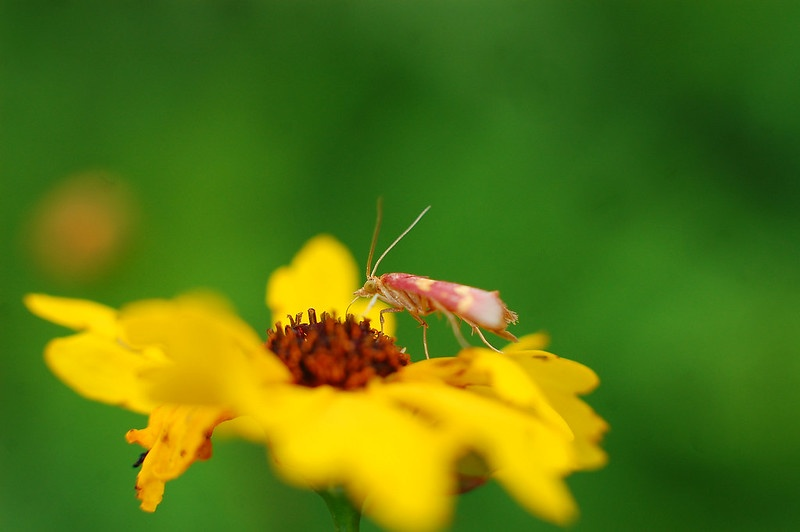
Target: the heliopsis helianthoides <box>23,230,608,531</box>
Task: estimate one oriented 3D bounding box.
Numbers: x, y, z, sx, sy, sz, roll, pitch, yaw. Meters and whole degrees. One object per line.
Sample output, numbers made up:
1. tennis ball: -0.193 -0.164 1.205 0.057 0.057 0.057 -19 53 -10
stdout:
1. heliopsis helianthoides: -0.186 0.378 1.823 1.218 0.499 0.615 21 12 19
